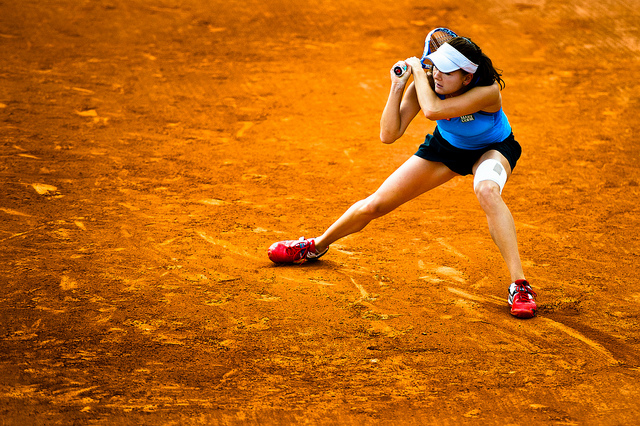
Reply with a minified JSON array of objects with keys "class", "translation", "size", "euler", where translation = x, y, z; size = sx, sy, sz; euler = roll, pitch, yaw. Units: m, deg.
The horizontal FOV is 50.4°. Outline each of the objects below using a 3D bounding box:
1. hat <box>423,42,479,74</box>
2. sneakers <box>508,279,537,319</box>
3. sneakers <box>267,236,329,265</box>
[{"class":"hat","translation":[0.984,-1.135,5.077],"size":[0.339,0.114,0.200],"euler":[14,14,-38]},{"class":"sneakers","translation":[1.573,0.667,5.262],"size":[0.187,0.134,0.358],"euler":[-1,10,-1]},{"class":"sneakers","translation":[-0.213,0.315,5.800],"size":[0.630,0.157,0.221],"euler":[-2,11,-3]}]
